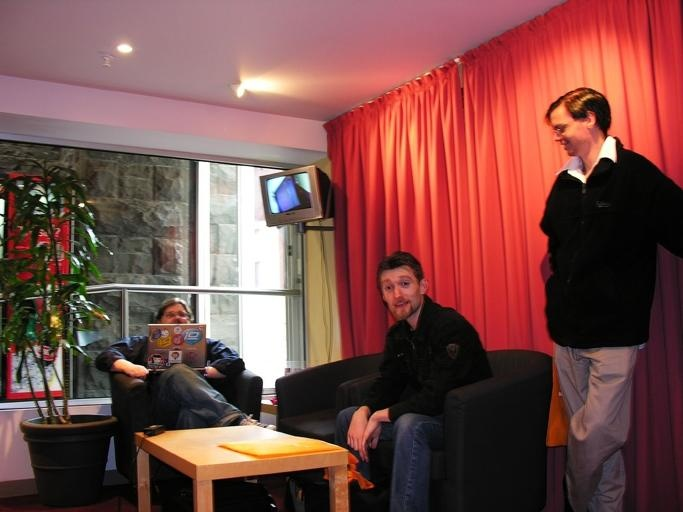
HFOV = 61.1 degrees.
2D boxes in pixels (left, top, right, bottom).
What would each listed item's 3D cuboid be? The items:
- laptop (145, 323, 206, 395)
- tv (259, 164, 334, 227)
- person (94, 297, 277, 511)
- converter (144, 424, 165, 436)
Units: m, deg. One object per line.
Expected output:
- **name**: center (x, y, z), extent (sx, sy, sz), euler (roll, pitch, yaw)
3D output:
- **laptop**: center (-1.108, 0.667, 4.049), extent (0.635, 0.462, 0.317), euler (0, -4, -5)
- **tv**: center (-0.409, -0.483, 4.848), extent (0.582, 0.387, 0.552), euler (-11, -1, 41)
- **person**: center (-0.710, 0.916, 3.536), extent (0.924, 1.116, 1.186), euler (6, -28, -31)
- **converter**: center (-0.918, 0.845, 2.828), extent (0.054, 0.029, 0.092), euler (-1, -1, 20)
